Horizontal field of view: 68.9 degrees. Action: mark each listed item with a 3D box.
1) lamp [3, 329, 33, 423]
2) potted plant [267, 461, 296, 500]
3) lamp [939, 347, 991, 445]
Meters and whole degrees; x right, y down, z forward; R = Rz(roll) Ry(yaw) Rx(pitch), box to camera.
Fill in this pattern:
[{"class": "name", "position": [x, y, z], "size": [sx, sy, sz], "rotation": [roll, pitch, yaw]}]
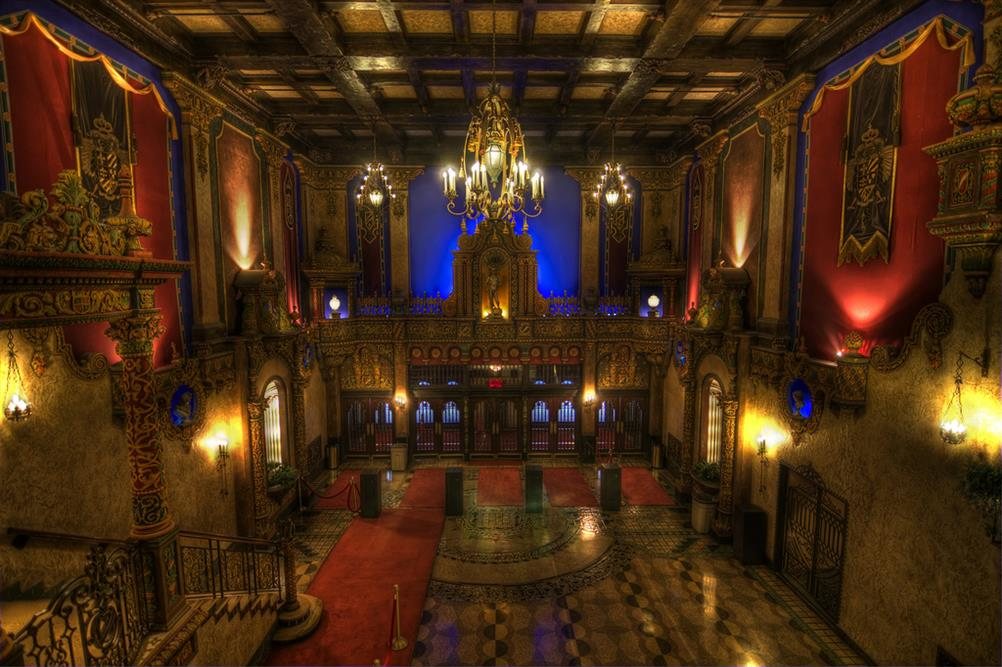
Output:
[{"class": "lamp", "position": [-9.445, 0.871, 14.226], "size": [0.574, 1.658, 0.360], "rotation": [11, -18, -40]}, {"class": "potted plant", "position": [-5.951, 3.926, 19.471], "size": [0.886, 0.632, 0.801], "rotation": [6, 6, 33]}, {"class": "lamp", "position": [8.801, 1.208, 13.652], "size": [0.926, 1.644, 0.346], "rotation": [-11, -17, 36]}]
